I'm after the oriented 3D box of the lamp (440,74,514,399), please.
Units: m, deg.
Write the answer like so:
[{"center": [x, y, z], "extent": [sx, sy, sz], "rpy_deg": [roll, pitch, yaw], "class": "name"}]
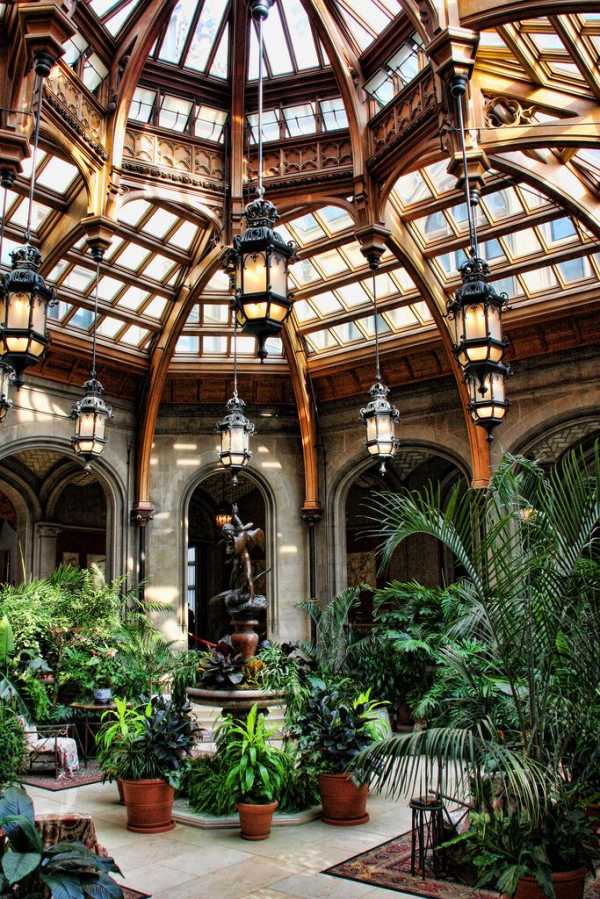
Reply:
[{"center": [1.098, -1.461, 4.900], "extent": [0.332, 2.242, 0.915], "rpy_deg": [-4, -13, 16], "class": "lamp"}]
